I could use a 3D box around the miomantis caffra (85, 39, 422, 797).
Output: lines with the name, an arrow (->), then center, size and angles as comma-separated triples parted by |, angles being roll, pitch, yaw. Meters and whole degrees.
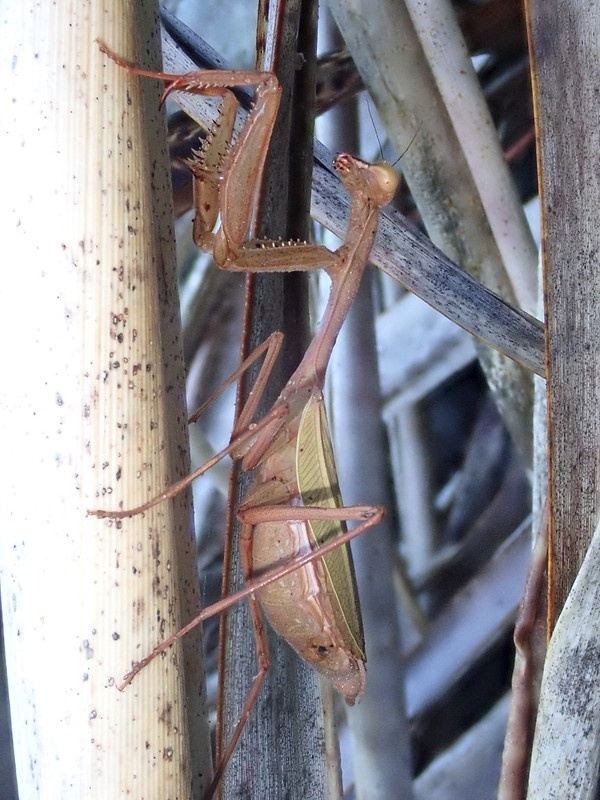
miomantis caffra -> -0.038, -0.042, 1.155 | 0.261, 0.876, 0.435 | -1, 16, -8
